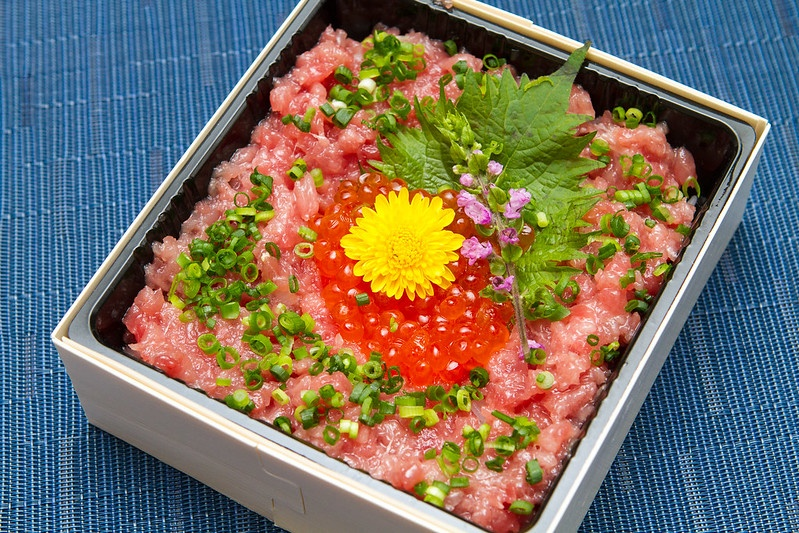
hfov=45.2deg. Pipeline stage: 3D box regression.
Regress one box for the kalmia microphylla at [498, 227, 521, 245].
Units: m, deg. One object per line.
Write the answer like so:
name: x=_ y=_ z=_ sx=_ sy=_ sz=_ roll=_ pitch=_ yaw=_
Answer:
kalmia microphylla: x=0.406 y=-0.119 z=3.606 sx=0.066 sy=0.049 sz=0.066 roll=-5 pitch=85 yaw=0

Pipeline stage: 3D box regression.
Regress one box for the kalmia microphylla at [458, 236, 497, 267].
kalmia microphylla: x=0.290 y=-0.063 z=3.674 sx=0.115 sy=0.219 sz=0.086 roll=-18 pitch=85 yaw=-1

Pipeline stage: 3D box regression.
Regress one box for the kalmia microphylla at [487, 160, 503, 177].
kalmia microphylla: x=0.370 y=-0.367 z=3.658 sx=0.049 sy=0.059 sz=0.030 roll=-1 pitch=31 yaw=2

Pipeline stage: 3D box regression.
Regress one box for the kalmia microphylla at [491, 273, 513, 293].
kalmia microphylla: x=0.388 y=0.064 z=3.625 sx=0.078 sy=0.082 sz=0.059 roll=-1 pitch=85 yaw=1

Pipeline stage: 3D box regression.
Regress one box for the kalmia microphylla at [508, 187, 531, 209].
kalmia microphylla: x=0.443 y=-0.256 z=3.572 sx=0.073 sy=0.082 sz=0.080 roll=-1 pitch=85 yaw=1
